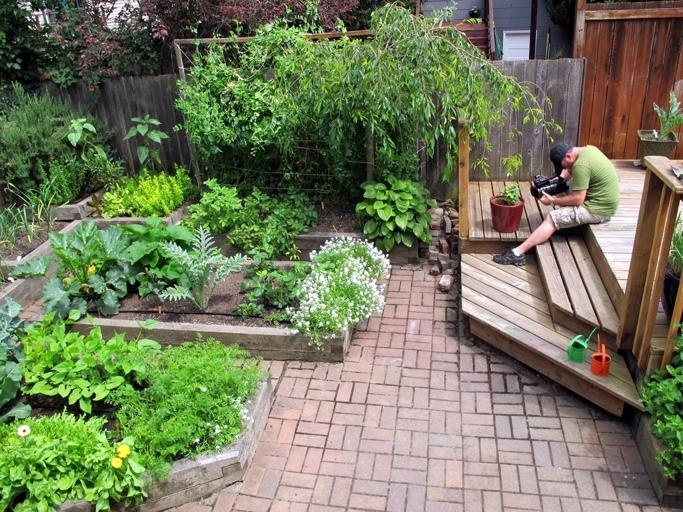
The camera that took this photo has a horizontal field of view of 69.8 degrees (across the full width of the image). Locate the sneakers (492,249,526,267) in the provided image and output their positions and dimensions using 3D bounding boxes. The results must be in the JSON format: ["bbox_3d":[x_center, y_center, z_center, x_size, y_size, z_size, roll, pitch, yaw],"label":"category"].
[{"bbox_3d":[2.133,0.027,6.331,0.415,0.231,0.187,6,24,12],"label":"sneakers"}]

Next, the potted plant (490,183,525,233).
[{"bbox_3d":[2.168,-0.631,6.443,0.402,0.584,0.389,0,12,-29],"label":"potted plant"}]

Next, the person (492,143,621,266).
[{"bbox_3d":[2.560,-0.748,6.175,1.465,1.182,1.687,6,34,42],"label":"person"}]
